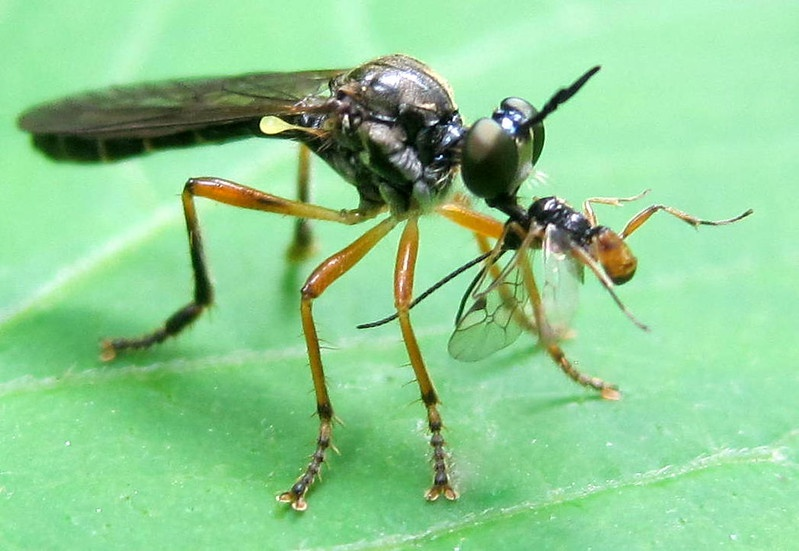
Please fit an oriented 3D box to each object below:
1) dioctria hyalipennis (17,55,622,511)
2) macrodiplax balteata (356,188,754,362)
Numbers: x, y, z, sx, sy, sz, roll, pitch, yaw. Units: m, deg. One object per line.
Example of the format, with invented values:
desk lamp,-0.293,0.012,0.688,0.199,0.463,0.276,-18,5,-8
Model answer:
dioctria hyalipennis,-0.471,-0.350,3.236,2.260,1.332,1.654,22,37,20
macrodiplax balteata,0.451,-0.069,2.807,0.868,0.631,0.650,0,7,1
